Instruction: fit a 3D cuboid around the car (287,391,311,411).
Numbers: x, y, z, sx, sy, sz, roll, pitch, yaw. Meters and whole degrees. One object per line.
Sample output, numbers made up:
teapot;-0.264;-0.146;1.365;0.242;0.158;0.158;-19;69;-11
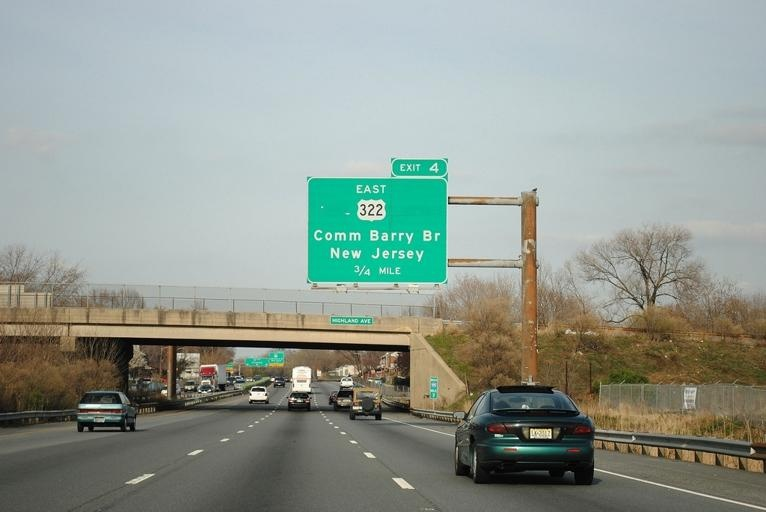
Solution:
car;-7.197;12.239;92.535;1.780;1.668;0.810;-2;-8;8

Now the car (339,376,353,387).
car;-5.144;17.595;152.922;1.819;1.693;4.398;0;3;-2

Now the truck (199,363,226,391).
truck;-26.210;18.034;165.155;2.140;3.333;5.497;-1;-11;3

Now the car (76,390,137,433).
car;-15.335;8.550;60.289;2.991;2.241;1.863;4;-9;-24

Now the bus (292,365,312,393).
bus;-9.449;14.134;126.069;1.807;2.790;5.561;0;-9;-4
